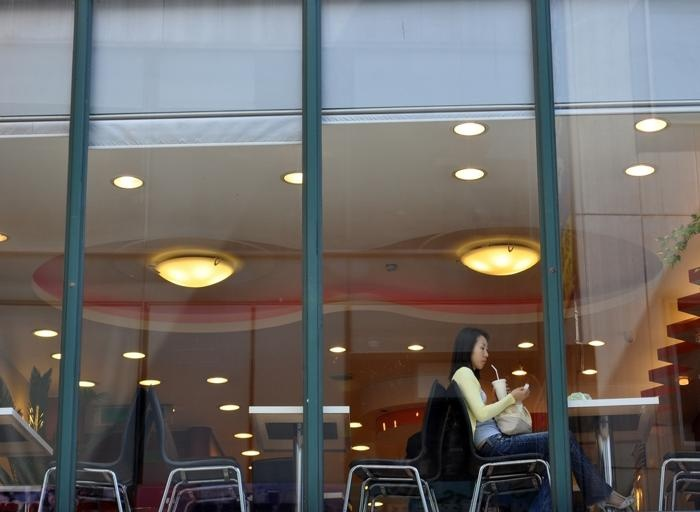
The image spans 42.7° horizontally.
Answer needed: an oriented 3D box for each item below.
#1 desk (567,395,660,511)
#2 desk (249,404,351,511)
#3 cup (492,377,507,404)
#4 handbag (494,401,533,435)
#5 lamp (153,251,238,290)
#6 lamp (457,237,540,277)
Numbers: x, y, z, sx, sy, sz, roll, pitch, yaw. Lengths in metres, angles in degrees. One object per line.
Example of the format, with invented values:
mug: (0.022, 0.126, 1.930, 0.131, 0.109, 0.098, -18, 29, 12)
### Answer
desk: (1.595, 1.083, 5.114, 0.610, 0.542, 0.587, 2, -13, 1)
desk: (-0.294, 1.250, 5.588, 0.636, 0.573, 0.609, 1, -25, -2)
cup: (0.886, 0.791, 5.287, 0.120, 0.149, 0.116, -1, -21, 0)
handbag: (0.960, 0.974, 5.345, 0.185, 0.167, 0.097, 4, -21, -28)
lamp: (-0.998, 0.130, 5.954, 0.745, 0.226, 0.718, -3, -7, -12)
lamp: (0.932, 0.006, 5.641, 0.316, 0.079, 0.318, -11, -12, 39)
